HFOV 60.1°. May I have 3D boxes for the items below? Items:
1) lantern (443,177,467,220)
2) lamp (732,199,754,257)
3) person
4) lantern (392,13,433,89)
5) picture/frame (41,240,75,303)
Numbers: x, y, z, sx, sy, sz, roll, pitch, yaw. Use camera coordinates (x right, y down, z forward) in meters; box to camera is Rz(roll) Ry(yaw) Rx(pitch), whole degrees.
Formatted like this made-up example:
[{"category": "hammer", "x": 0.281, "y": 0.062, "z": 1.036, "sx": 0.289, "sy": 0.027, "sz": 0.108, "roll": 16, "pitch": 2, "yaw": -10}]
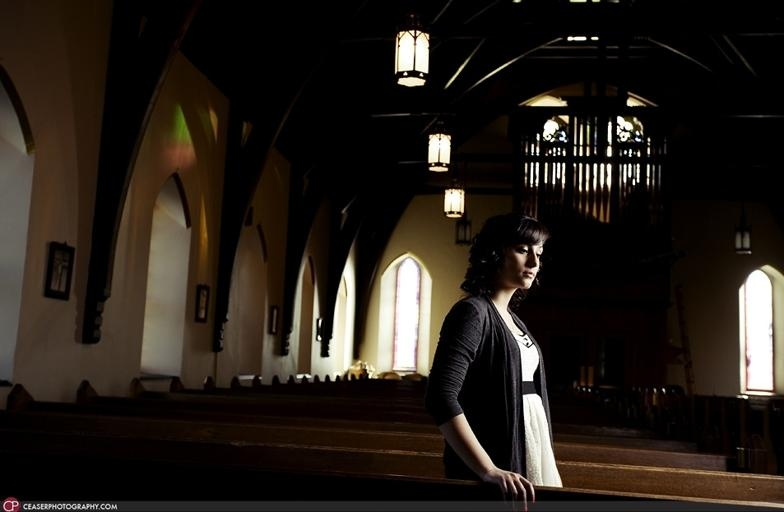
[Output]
[{"category": "lantern", "x": 1.284, "y": -1.209, "z": 13.916, "sx": 0.521, "sy": 0.799, "sz": 0.542, "roll": 4, "pitch": -6, "yaw": -21}, {"category": "lamp", "x": 8.453, "y": -0.771, "z": 16.400, "sx": 0.375, "sy": 1.698, "sz": 2.732, "roll": -3, "pitch": -14, "yaw": 27}, {"category": "person", "x": 0.658, "y": 0.565, "z": 4.256, "sx": 0.876, "sy": 1.760, "sz": 0.559, "roll": 3, "pitch": -12, "yaw": -3}, {"category": "lantern", "x": 0.253, "y": -2.520, "z": 8.199, "sx": 0.395, "sy": 0.746, "sz": 0.415, "roll": 3, "pitch": -12, "yaw": -1}, {"category": "picture/frame", "x": -3.394, "y": 0.153, "z": 7.019, "sx": 0.486, "sy": 0.574, "sz": 0.064, "roll": 7, "pitch": -1, "yaw": 34}]
